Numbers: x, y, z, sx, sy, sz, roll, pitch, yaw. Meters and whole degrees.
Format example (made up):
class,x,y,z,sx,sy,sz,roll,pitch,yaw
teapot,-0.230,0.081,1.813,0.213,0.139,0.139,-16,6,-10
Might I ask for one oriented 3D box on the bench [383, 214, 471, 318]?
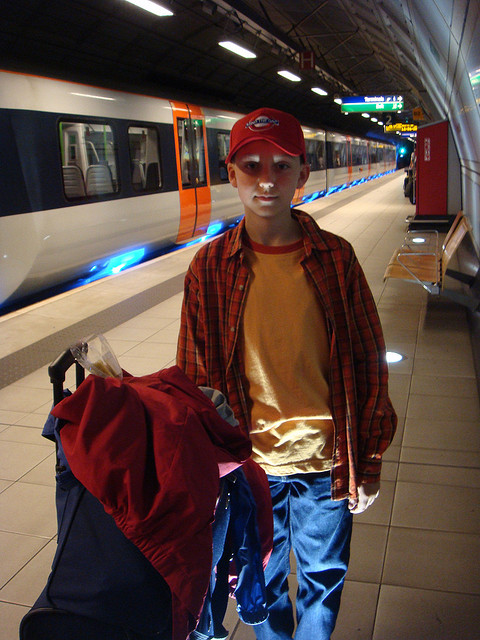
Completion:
class,x,y,z,sx,sy,sz,roll,pitch,yaw
bench,2.883,-0.820,6.589,0.902,1.095,2.245,6,23,20

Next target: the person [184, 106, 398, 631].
class,x,y,z,sx,sy,sz,roll,pitch,yaw
person,0.134,0.238,1.183,0.500,1.513,0.344,-12,18,-15
